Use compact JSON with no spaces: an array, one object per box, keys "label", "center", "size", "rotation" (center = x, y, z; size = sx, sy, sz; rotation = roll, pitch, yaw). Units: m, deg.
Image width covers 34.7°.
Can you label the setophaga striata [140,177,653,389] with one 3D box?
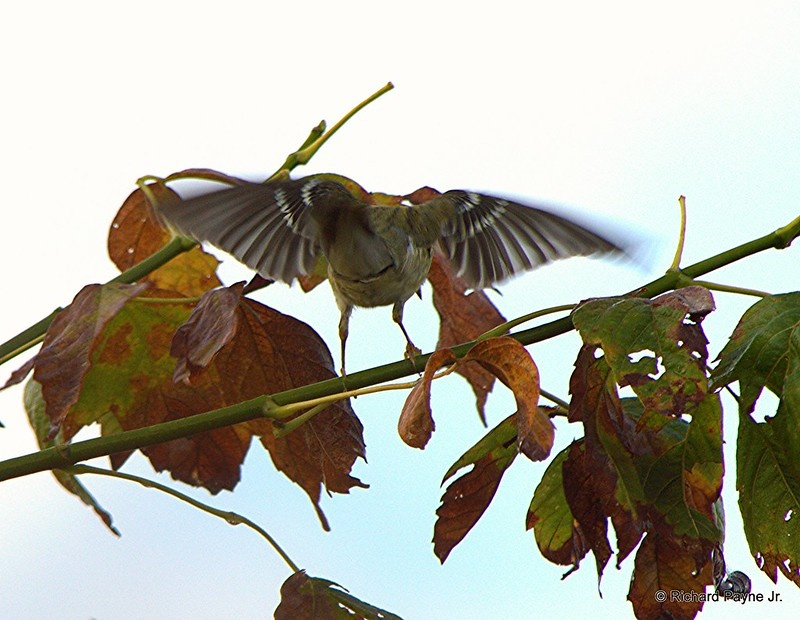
[{"label":"setophaga striata","center":[-0.041,-0.109,1.846],"size":[0.442,0.180,0.385],"rotation":[-1,-66,-1]}]
